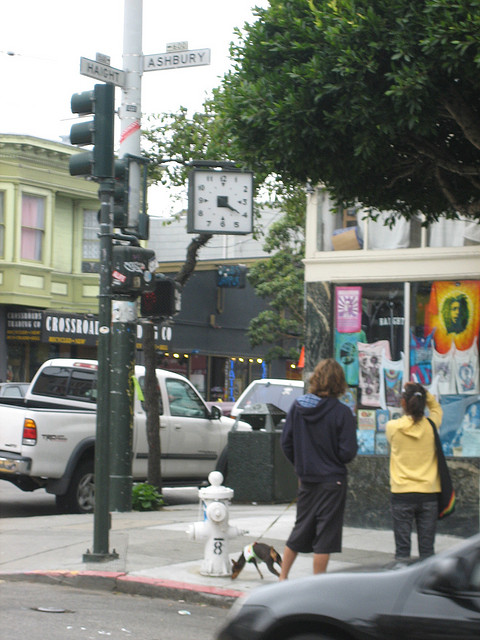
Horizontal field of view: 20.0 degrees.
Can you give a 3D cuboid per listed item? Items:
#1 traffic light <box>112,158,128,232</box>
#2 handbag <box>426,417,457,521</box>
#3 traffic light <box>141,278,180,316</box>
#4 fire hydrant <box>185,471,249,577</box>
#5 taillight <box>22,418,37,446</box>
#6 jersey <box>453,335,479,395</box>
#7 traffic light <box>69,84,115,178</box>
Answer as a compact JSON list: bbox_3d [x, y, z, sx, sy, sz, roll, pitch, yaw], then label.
[{"bbox_3d":[-1.076,-1.150,12.330,0.127,0.622,0.319,0,0,-5],"label":"traffic light"},{"bbox_3d":[1.550,1.159,10.418,0.162,0.785,0.281,-8,-12,-11],"label":"handbag"},{"bbox_3d":[-0.806,-0.223,13.790,0.395,0.379,0.212,-1,-2,28],"label":"traffic light"},{"bbox_3d":[-0.195,1.657,11.011,0.552,0.814,0.374,-1,0,-12],"label":"fire hydrant"},{"bbox_3d":[-2.256,1.222,14.642,0.149,0.292,0.068,-1,0,22],"label":"taillight"},{"bbox_3d":[2.353,0.517,14.086,0.269,0.544,0.197,-3,-2,27],"label":"jersey"},{"bbox_3d":[-1.241,-1.583,11.611,0.311,0.766,0.567,0,-1,-36],"label":"traffic light"}]
